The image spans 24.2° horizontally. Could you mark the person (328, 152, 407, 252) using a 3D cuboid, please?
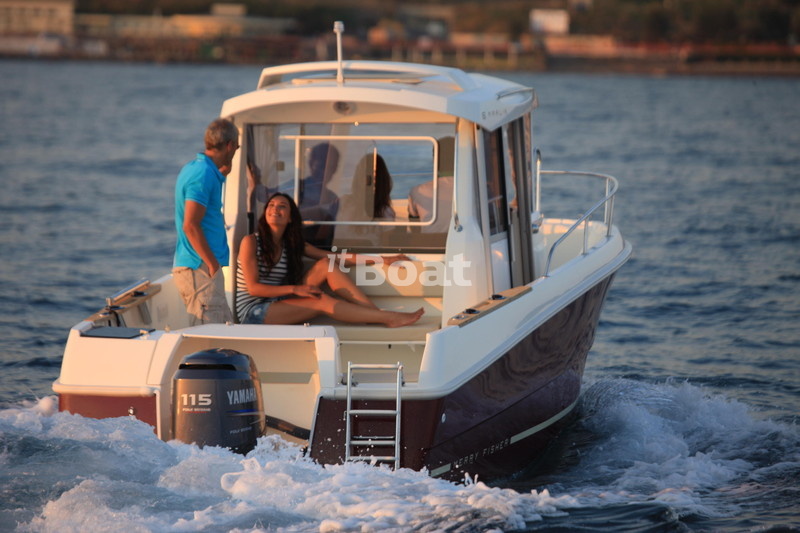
[{"bbox_3d":[-0.588,-1.515,43.808,1.355,2.243,0.574,4,1,15],"label":"person"}]
